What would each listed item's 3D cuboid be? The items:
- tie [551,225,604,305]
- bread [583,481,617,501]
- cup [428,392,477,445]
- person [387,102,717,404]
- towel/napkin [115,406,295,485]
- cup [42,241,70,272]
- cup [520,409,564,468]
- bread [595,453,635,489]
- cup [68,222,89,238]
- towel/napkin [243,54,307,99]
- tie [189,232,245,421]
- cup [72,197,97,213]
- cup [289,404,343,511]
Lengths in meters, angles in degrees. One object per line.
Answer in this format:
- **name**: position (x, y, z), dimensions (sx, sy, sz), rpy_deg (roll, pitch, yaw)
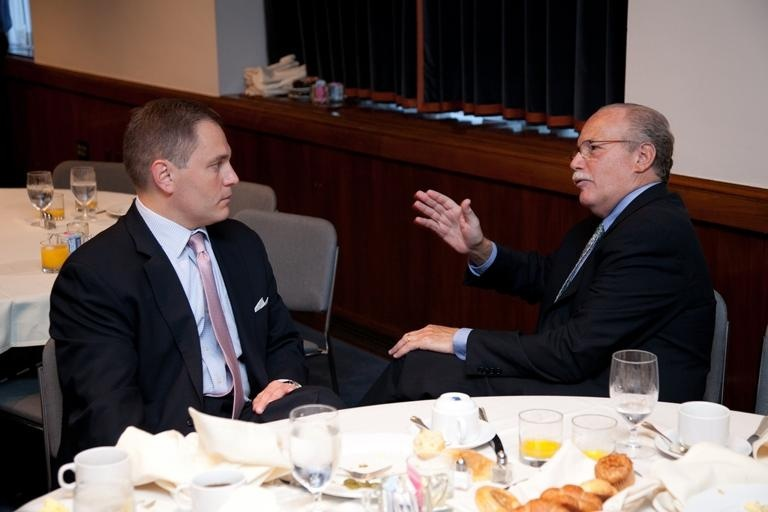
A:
- **tie**: position (0.784, 0.044, 2.310), dimensions (0.060, 0.392, 0.044), rpy_deg (34, 30, 9)
- **bread**: position (0.419, 0.452, 1.116), dimensions (0.043, 0.016, 0.046), rpy_deg (25, -8, 5)
- **cup**: position (0.170, 0.386, 1.383), dimensions (0.073, 0.089, 0.122), rpy_deg (0, 11, -1)
- **person**: position (0.685, -0.026, 2.211), dimensions (1.117, 1.119, 0.459), rpy_deg (-2, 6, -5)
- **towel/napkin**: position (-0.392, 0.411, 1.233), dimensions (0.273, 0.121, 0.205), rpy_deg (-4, 15, -5)
- **cup**: position (-1.408, 0.004, 2.456), dimensions (0.092, 0.113, 0.099), rpy_deg (4, 15, -1)
- **cup**: position (0.358, 0.418, 1.372), dimensions (0.107, 0.128, 0.104), rpy_deg (-1, 8, 0)
- **bread**: position (0.468, 0.427, 1.168), dimensions (0.058, 0.051, 0.064), rpy_deg (-9, -2, -32)
- **cup**: position (-1.508, -0.127, 2.825), dimensions (0.085, 0.105, 0.085), rpy_deg (2, 8, 0)
- **towel/napkin**: position (-0.866, -1.421, 4.566), dimensions (0.367, 0.214, 0.389), rpy_deg (-5, 12, 10)
- **tie**: position (-0.566, 0.212, 2.008), dimensions (0.110, 0.849, 0.089), rpy_deg (-9, -1, -34)
- **cup**: position (-1.738, -0.289, 3.322), dimensions (0.093, 0.078, 0.099), rpy_deg (2, 3, 0)
- **cup**: position (-0.142, 0.415, 1.153), dimensions (0.100, 0.216, 0.178), rpy_deg (-2, 6, -11)
